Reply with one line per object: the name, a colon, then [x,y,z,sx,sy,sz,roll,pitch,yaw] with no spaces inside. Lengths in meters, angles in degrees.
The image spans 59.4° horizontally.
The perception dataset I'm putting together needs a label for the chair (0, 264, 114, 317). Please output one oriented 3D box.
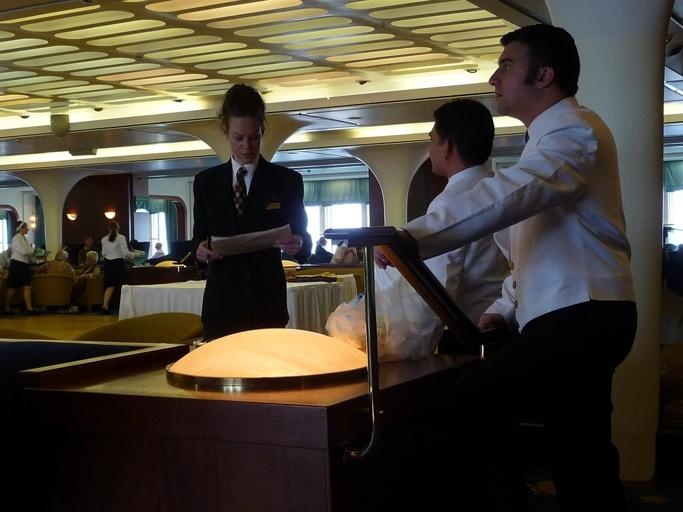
chair: [-6.258,0.739,13.520,1.500,1.229,1.252,3,-5,-3]
